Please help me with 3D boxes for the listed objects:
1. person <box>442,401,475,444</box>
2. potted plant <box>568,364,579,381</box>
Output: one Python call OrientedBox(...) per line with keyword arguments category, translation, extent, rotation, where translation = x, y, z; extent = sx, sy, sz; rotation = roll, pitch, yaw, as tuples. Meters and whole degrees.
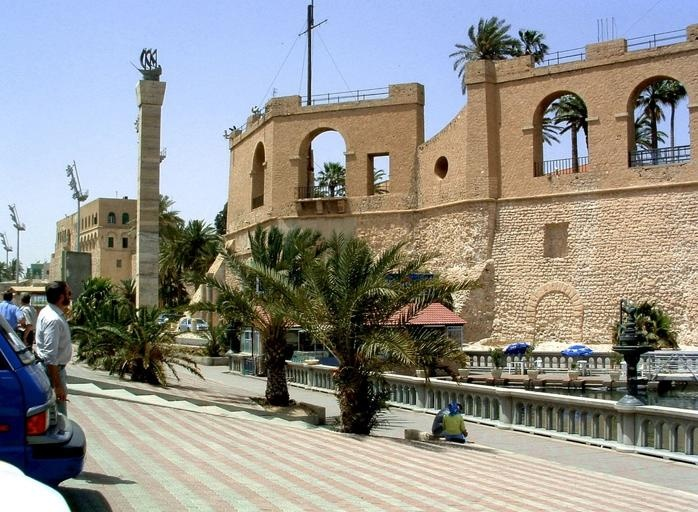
OrientedBox(category="person", translation=(2.192, 3.490, 18.024), extent=(0.496, 0.801, 0.393), rotation=(0, -4, -12))
OrientedBox(category="potted plant", translation=(8.118, 4.246, 31.359), extent=(0.502, 0.669, 0.498), rotation=(1, -7, 2))
